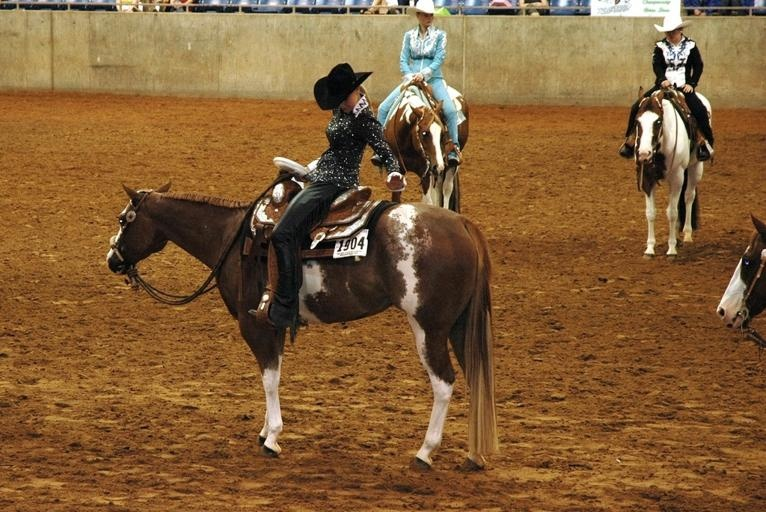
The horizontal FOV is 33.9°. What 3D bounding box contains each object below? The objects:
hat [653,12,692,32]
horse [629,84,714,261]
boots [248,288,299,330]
[{"bbox_3d":[5.044,-4.006,21.839,0.463,0.320,0.800,3,12,10],"label":"hat"},{"bbox_3d":[4.835,-1.438,21.531,0.825,2.759,1.853,10,16,34],"label":"horse"},{"bbox_3d":[-1.412,0.586,16.587,0.632,0.587,0.508,13,2,-27],"label":"boots"}]
